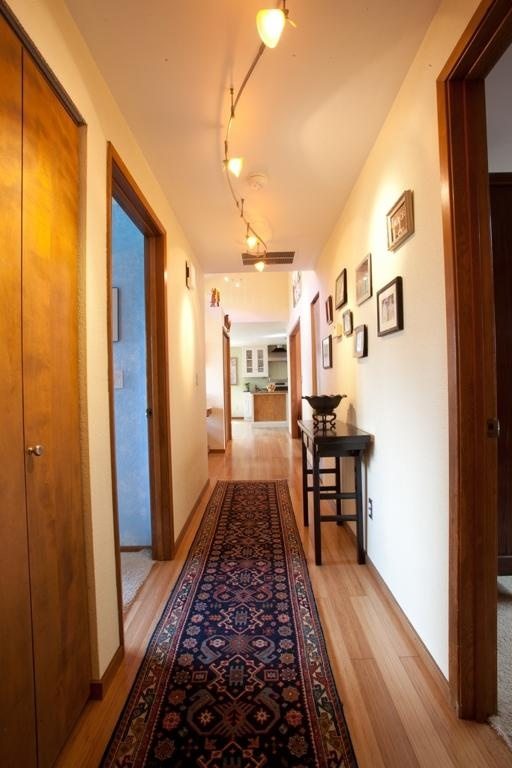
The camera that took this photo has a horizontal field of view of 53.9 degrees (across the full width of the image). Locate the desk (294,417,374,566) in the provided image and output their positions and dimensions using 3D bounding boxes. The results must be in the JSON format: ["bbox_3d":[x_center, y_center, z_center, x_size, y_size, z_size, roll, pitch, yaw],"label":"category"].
[{"bbox_3d":[0.444,0.566,2.946,0.188,0.692,0.744,1,4,2],"label":"desk"}]

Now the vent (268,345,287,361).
[{"bbox_3d":[0.547,-0.822,13.376,0.477,0.425,0.141,-1,1,8],"label":"vent"}]

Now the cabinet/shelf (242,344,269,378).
[{"bbox_3d":[-0.035,-0.603,13.296,0.496,1.014,0.270,0,0,-3],"label":"cabinet/shelf"}]
